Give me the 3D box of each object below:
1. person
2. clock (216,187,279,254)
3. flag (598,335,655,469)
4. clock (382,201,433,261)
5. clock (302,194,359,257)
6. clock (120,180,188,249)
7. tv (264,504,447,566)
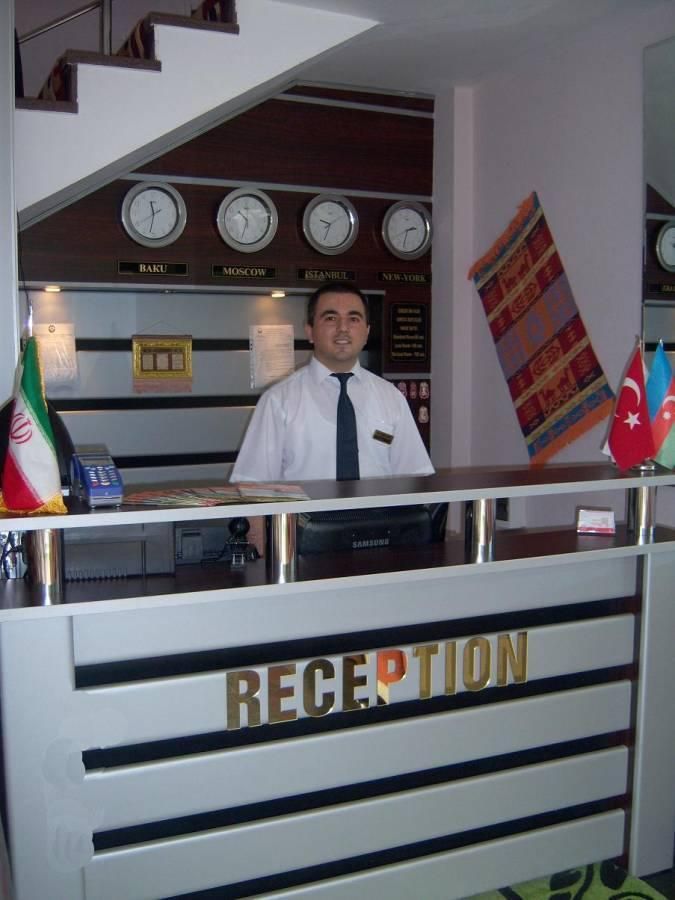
[{"bbox_3d":[-0.078,-0.329,3.265,1.073,1.039,0.394,-1,3,-16],"label":"person"},{"bbox_3d":[-0.459,-1.171,3.847,0.309,0.311,0.072,-4,12,-30],"label":"clock"},{"bbox_3d":[0.752,-0.112,1.963,0.120,0.308,0.084,-2,3,19],"label":"flag"},{"bbox_3d":[0.383,-1.235,4.233,0.312,0.318,0.034,-4,4,-28],"label":"clock"},{"bbox_3d":[-0.042,-1.223,4.103,0.312,0.318,0.313,5,17,12],"label":"clock"},{"bbox_3d":[-0.882,-1.134,3.645,0.293,0.296,0.060,-6,15,-29],"label":"clock"},{"bbox_3d":[0.092,0.196,1.859,0.409,0.108,0.131,-3,3,-14],"label":"tv"}]
